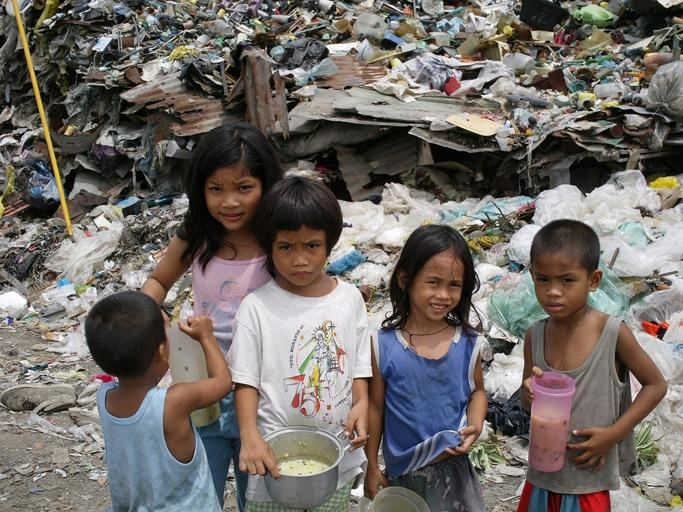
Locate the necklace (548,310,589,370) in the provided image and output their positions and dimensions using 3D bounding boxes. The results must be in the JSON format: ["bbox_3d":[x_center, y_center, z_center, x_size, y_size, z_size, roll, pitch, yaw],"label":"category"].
[{"bbox_3d":[0.963,0.352,2.517,0.161,0.206,0.204,-6,-41,44],"label":"necklace"}]

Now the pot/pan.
[{"bbox_3d":[-0.142,0.806,2.264,0.292,0.278,0.185,-1,4,-7],"label":"pot/pan"}]

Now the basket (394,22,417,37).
[{"bbox_3d":[1.027,-3.606,9.680,0.354,0.210,0.330,22,20,-9],"label":"basket"}]

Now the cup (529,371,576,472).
[{"bbox_3d":[0.852,0.695,2.511,0.173,0.427,0.151,1,15,-2],"label":"cup"}]
